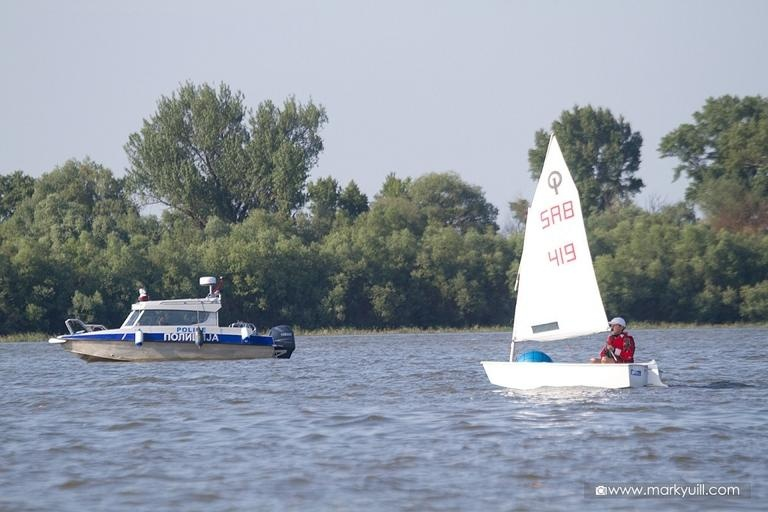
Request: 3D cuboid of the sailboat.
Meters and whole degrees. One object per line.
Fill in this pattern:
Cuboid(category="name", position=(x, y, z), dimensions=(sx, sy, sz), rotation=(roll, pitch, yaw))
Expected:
Cuboid(category="sailboat", position=(13.896, 1.398, 74.824), dimensions=(9.852, 16.560, 13.368), rotation=(0, -1, -25))
